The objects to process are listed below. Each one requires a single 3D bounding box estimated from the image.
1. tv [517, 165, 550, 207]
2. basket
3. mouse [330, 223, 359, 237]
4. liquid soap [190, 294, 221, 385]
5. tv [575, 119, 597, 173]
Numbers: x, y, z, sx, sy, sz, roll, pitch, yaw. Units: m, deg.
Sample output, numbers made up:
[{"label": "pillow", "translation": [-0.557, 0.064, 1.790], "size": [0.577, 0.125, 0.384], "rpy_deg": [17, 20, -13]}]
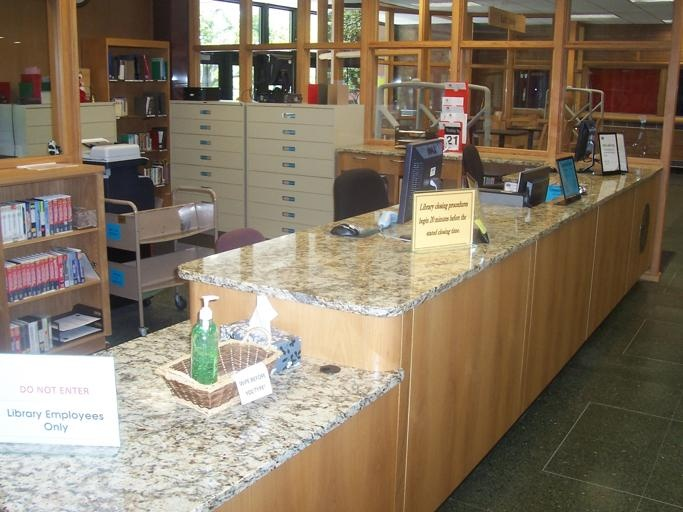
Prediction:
[{"label": "tv", "translation": [1.298, -0.458, 3.691], "size": [0.121, 0.233, 0.352], "rpy_deg": [20, 30, 35]}, {"label": "basket", "translation": [-0.361, 0.318, 1.648], "size": [0.198, 0.092, 0.292], "rpy_deg": [12, 18, 30]}, {"label": "mouse", "translation": [0.020, -0.136, 2.893], "size": [0.106, 0.035, 0.074], "rpy_deg": [3, 12, 24]}, {"label": "liquid soap", "translation": [-0.400, 0.259, 1.566], "size": [0.087, 0.214, 0.099], "rpy_deg": [-7, 15, -16]}, {"label": "tv", "translation": [2.383, -1.077, 5.317], "size": [0.182, 0.465, 0.650], "rpy_deg": [4, 15, 24]}]
